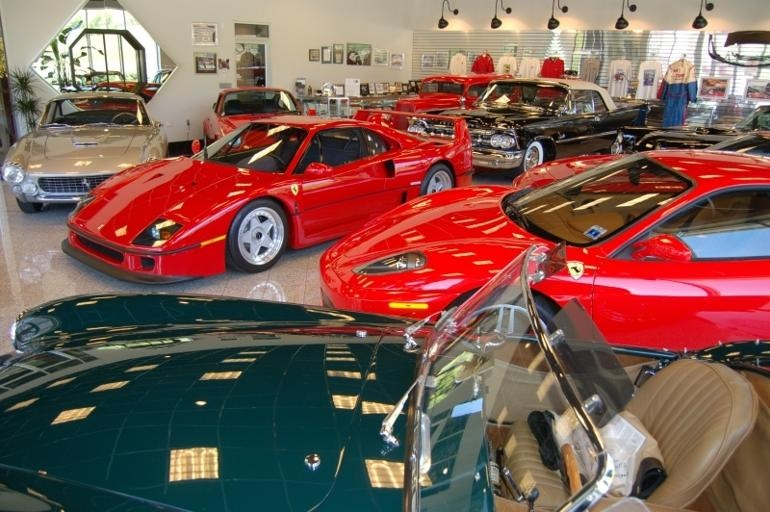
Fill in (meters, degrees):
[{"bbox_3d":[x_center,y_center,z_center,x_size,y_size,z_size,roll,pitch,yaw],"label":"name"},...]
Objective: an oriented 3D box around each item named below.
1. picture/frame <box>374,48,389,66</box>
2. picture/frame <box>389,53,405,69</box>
[{"bbox_3d":[-0.156,-6.180,14.398,0.802,0.421,0.078,-8,20,-43],"label":"picture/frame"},{"bbox_3d":[0.339,-6.276,14.920,0.063,0.368,0.796,21,26,34],"label":"picture/frame"}]
